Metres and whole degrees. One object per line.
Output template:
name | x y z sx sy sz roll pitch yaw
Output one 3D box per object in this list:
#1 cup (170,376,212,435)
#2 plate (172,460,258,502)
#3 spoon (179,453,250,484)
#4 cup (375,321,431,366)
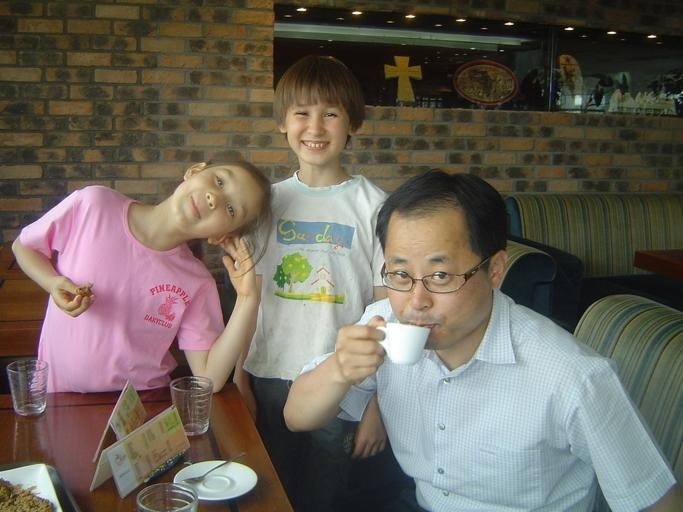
cup | -0.386 0.396 1.403 0.111 0.100 0.087 -23 -26 16
plate | -0.269 0.484 1.213 0.153 0.026 0.126 8 10 36
spoon | -0.272 0.465 1.258 0.034 0.027 0.207 5 8 33
cup | 0.143 0.197 1.253 0.087 0.071 0.112 5 -5 -7
